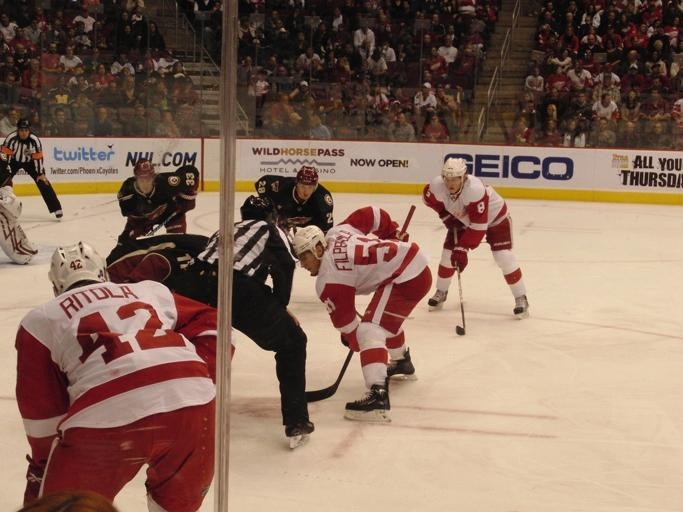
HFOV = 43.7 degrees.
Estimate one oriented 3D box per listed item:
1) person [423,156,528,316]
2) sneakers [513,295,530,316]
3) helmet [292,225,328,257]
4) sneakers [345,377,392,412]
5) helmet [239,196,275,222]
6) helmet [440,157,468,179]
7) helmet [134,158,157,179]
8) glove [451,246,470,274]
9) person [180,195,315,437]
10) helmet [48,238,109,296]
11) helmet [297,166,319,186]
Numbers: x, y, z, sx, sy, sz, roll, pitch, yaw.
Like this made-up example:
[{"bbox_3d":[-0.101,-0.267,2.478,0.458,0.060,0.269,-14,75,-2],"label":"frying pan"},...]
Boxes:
[{"bbox_3d":[1.216,-0.179,7.741,0.989,1.466,0.817,4,18,29],"label":"person"},{"bbox_3d":[1.616,0.441,7.611,0.129,0.181,0.227,2,12,12],"label":"sneakers"},{"bbox_3d":[-0.208,-0.115,5.691,0.216,0.207,0.171,-12,11,0],"label":"helmet"},{"bbox_3d":[0.218,0.945,5.783,0.103,0.213,0.306,7,-2,-39],"label":"sneakers"},{"bbox_3d":[-0.605,-0.319,6.134,0.182,0.221,0.231,13,24,31],"label":"helmet"},{"bbox_3d":[1.006,-0.783,7.525,0.198,0.167,0.453,1,12,6],"label":"helmet"},{"bbox_3d":[-1.793,-0.755,7.810,0.195,0.212,0.257,1,34,-16],"label":"helmet"},{"bbox_3d":[1.067,0.034,7.611,0.079,0.211,0.151,7,11,-1],"label":"glove"},{"bbox_3d":[-0.627,0.373,5.653,0.983,1.570,0.965,1,-11,26],"label":"person"},{"bbox_3d":[-1.325,0.096,4.324,0.268,0.311,0.321,-11,-29,-21],"label":"helmet"},{"bbox_3d":[-0.275,-0.654,7.295,0.164,0.193,0.204,7,17,-8],"label":"helmet"}]
